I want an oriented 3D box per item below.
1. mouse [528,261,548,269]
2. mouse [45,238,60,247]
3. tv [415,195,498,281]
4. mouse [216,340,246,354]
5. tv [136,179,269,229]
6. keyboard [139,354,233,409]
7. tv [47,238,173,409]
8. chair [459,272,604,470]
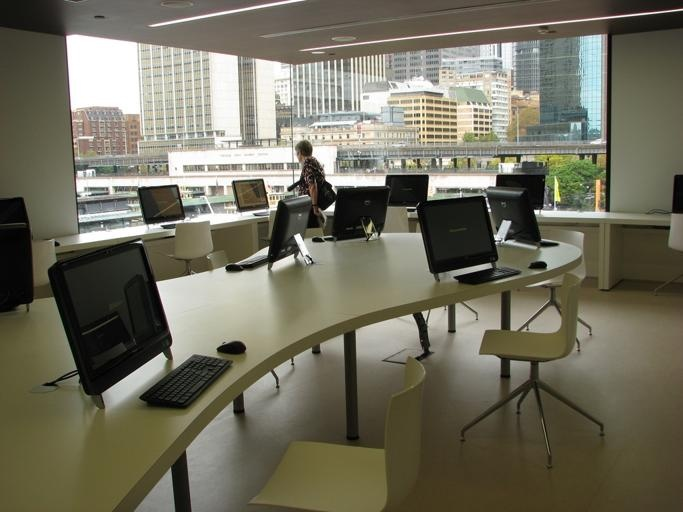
[{"bbox_3d":[1.345,0.057,3.510,0.101,0.038,0.059,0,2,-9],"label":"mouse"},{"bbox_3d":[-2.850,-0.134,5.064,0.077,0.055,0.083,7,9,23],"label":"mouse"},{"bbox_3d":[0.773,-0.106,3.440,0.578,0.542,0.060,-7,-12,-39],"label":"tv"},{"bbox_3d":[-0.480,0.392,2.273,0.084,0.032,0.065,4,6,14],"label":"mouse"},{"bbox_3d":[-2.053,-0.663,6.466,0.534,0.452,0.845,6,15,21],"label":"tv"},{"bbox_3d":[-0.599,0.491,2.026,0.200,0.047,0.360,3,14,20],"label":"keyboard"},{"bbox_3d":[-0.951,0.298,2.103,0.226,0.565,0.546,5,15,13],"label":"tv"},{"bbox_3d":[1.214,0.604,3.542,0.968,1.114,0.965,1,9,14],"label":"chair"}]
